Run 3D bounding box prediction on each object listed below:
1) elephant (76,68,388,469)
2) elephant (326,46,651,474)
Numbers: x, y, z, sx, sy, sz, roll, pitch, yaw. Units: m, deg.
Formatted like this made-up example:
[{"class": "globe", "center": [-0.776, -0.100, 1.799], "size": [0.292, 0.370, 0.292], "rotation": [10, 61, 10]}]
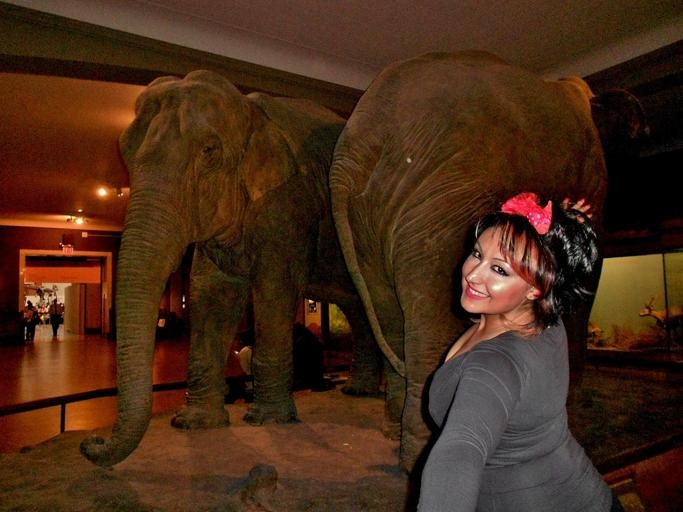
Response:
[{"class": "elephant", "center": [-0.578, 0.043, 4.140], "size": [1.095, 2.633, 3.129], "rotation": [-2, -2, 37]}, {"class": "elephant", "center": [1.267, -0.037, 3.892], "size": [3.111, 2.669, 1.486], "rotation": [-6, 2, -38]}]
